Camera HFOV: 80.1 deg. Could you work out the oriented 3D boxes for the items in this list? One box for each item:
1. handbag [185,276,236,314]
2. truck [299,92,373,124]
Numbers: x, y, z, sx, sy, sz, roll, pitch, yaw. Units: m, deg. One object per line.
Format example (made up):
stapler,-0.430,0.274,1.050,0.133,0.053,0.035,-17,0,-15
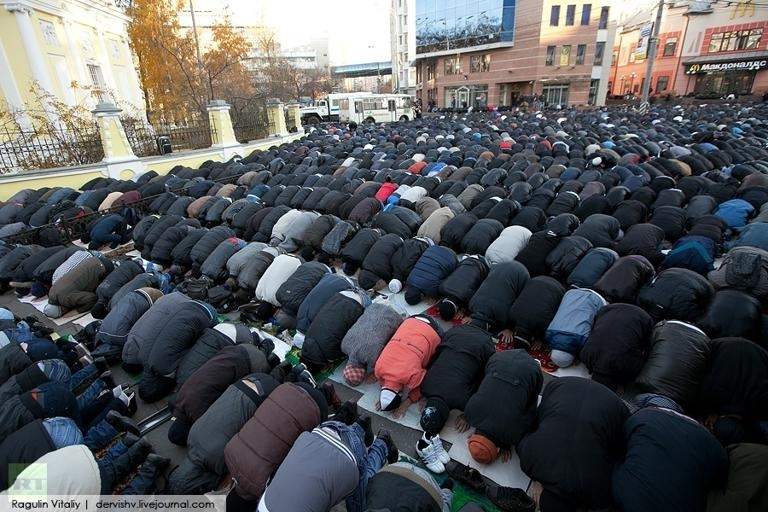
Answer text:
handbag,-3.387,0.758,8.999,0.666,0.371,0.856,17,12,13
truck,-4.179,-10.776,33.834,7.186,2.695,2.308,1,22,7
